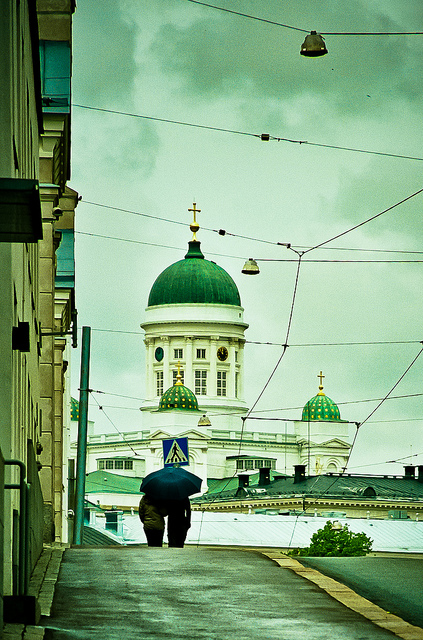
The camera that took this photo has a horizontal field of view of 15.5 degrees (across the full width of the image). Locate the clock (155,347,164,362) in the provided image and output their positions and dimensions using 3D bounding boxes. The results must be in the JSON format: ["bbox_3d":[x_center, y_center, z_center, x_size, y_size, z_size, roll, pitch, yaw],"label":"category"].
[{"bbox_3d":[-4.467,2.977,134.845,0.860,1.754,0.146,-1,0,34],"label":"clock"}]

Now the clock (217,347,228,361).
[{"bbox_3d":[0.887,2.947,134.202,0.744,1.127,0.064,2,4,-3],"label":"clock"}]

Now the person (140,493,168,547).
[{"bbox_3d":[-0.982,3.417,26.344,0.467,0.888,1.078,4,-4,-3],"label":"person"}]

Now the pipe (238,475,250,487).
[{"bbox_3d":[2.462,12.540,120.638,0.763,0.990,2.255,5,-5,1],"label":"pipe"}]

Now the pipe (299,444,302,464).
[{"bbox_3d":[7.826,11.979,139.396,0.193,1.589,0.656,3,-3,2],"label":"pipe"}]

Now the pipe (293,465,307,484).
[{"bbox_3d":[6.526,11.364,114.415,0.832,1.670,0.940,2,-6,-12],"label":"pipe"}]

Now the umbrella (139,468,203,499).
[{"bbox_3d":[-0.711,2.867,27.135,0.898,0.551,1.713,6,-5,4],"label":"umbrella"}]

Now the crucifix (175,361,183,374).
[{"bbox_3d":[-2.775,4.022,133.090,0.704,1.806,0.310,0,-5,-3],"label":"crucifix"}]

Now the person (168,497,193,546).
[{"bbox_3d":[-0.557,3.461,26.620,0.367,0.846,1.061,4,-4,-1],"label":"person"}]
